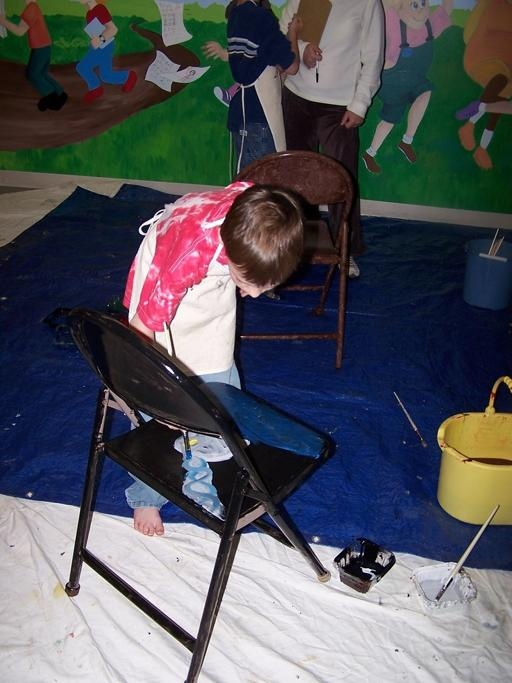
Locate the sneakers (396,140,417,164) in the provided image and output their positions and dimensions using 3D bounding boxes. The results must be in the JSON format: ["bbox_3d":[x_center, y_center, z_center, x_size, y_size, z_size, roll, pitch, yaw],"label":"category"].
[{"bbox_3d":[1.025,-1.290,3.821,0.069,0.174,0.081,-27,4,12],"label":"sneakers"}]

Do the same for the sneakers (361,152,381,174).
[{"bbox_3d":[0.801,-1.239,3.930,0.081,0.066,0.161,-32,85,25],"label":"sneakers"}]

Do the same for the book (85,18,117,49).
[{"bbox_3d":[-1.099,-2.189,3.998,0.240,0.180,0.056,0,51,15],"label":"book"}]

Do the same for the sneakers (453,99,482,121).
[{"bbox_3d":[1.375,-1.487,3.639,0.147,0.058,0.078,-37,61,-1],"label":"sneakers"}]

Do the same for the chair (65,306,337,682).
[{"bbox_3d":[-0.133,0.367,1.223,0.400,0.671,0.430,35,59,19],"label":"chair"}]

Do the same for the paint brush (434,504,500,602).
[{"bbox_3d":[0.527,0.529,1.394,0.035,0.012,0.252,43,86,11],"label":"paint brush"}]

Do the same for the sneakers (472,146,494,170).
[{"bbox_3d":[1.491,-1.208,3.733,0.096,0.151,0.039,-10,43,43],"label":"sneakers"}]

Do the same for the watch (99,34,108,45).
[{"bbox_3d":[-1.100,-2.160,4.019,0.040,0.061,0.047,-5,10,2],"label":"watch"}]
